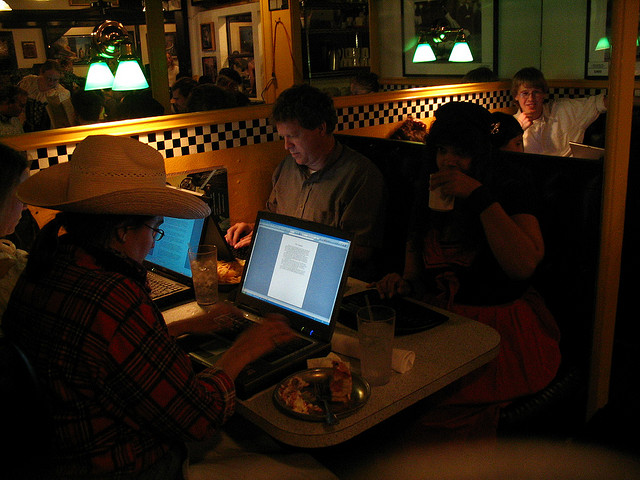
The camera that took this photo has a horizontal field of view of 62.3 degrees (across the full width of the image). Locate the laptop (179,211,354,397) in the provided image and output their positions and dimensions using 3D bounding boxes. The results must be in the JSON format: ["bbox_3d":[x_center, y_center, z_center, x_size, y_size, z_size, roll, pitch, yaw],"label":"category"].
[{"bbox_3d":[-0.219,0.173,1.791,0.571,0.366,0.552,-15,22,-39],"label":"laptop"}]

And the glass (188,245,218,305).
[{"bbox_3d":[-0.472,0.152,2.136,0.109,0.209,0.086,-4,15,-5],"label":"glass"}]

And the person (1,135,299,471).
[{"bbox_3d":[-0.528,0.186,1.449,0.716,0.893,0.474,-13,19,-33],"label":"person"}]

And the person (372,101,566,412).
[{"bbox_3d":[0.638,0.021,2.527,0.845,1.326,1.008,-17,20,-38],"label":"person"}]

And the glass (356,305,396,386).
[{"bbox_3d":[0.172,0.318,1.636,0.113,0.216,0.169,0,16,8],"label":"glass"}]

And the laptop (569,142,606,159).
[{"bbox_3d":[1.235,-0.409,2.444,0.103,0.071,0.393,2,17,16],"label":"laptop"}]

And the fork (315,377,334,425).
[{"bbox_3d":[0.010,0.465,1.524,0.022,0.024,0.163,-2,27,-11],"label":"fork"}]
